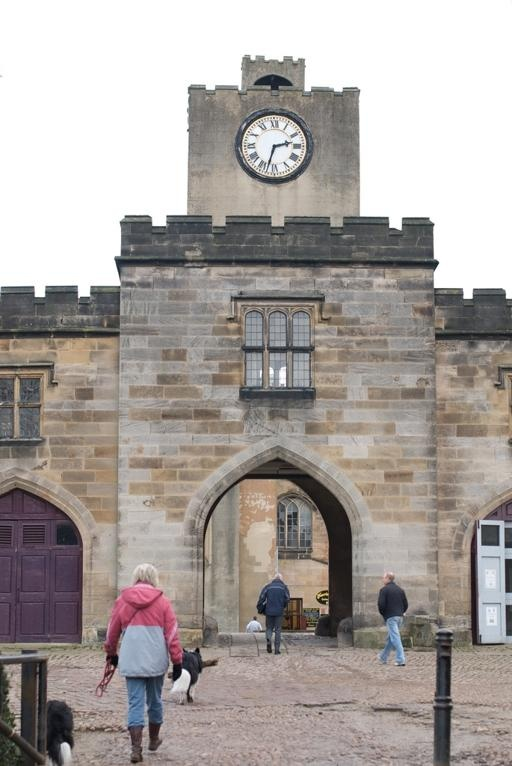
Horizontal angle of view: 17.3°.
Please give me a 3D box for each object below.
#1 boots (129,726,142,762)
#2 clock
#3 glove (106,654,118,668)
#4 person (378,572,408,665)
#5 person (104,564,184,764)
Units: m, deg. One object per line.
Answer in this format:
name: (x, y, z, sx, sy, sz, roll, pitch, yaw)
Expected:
boots: (-1.047, 3.179, 14.744, 0.122, 0.312, 0.335, 1, -10, -4)
clock: (0.307, -4.235, 30.339, 1.051, 1.196, 0.113, 12, -7, -1)
glove: (-1.275, 2.482, 14.996, 0.096, 0.119, 0.111, 4, -13, -3)
person: (1.731, 2.960, 21.068, 0.350, 1.200, 0.948, -1, -10, 4)
person: (-0.997, 2.484, 14.935, 0.680, 1.748, 0.465, 1, -10, -5)
